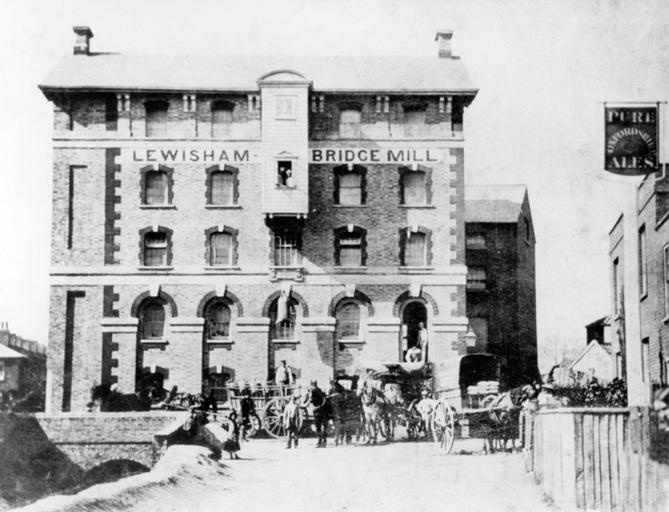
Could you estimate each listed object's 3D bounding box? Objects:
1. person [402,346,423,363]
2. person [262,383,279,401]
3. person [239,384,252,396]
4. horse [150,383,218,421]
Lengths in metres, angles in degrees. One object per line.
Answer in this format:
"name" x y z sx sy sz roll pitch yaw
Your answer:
"person" 3.432 4.246 70.752 0.500 0.769 0.289 0 3 16
"person" -2.732 5.721 69.800 0.456 0.860 0.827 -3 -8 -7
"person" -3.709 5.535 68.242 0.407 0.814 0.421 1 -10 -22
"horse" -6.319 6.103 69.746 1.926 1.016 1.554 -1 -10 -1
